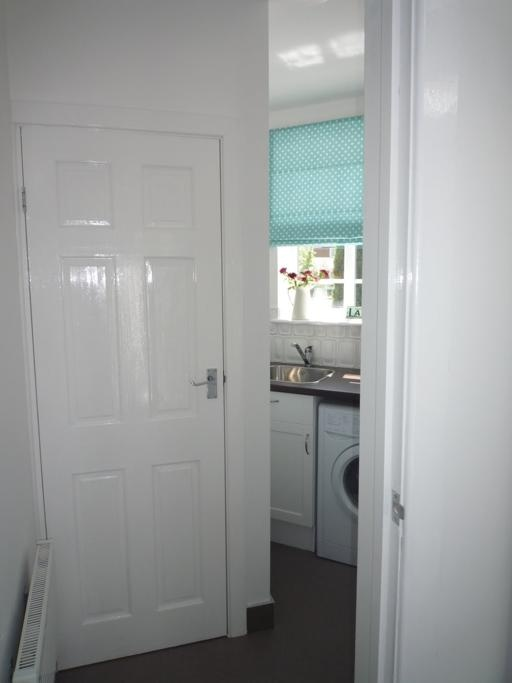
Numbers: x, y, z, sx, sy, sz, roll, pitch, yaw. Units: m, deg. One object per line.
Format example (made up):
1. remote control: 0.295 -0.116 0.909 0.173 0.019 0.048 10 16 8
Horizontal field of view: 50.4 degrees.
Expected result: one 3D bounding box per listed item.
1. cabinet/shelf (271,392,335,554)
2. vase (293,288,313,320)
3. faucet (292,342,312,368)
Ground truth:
1. cabinet/shelf: 0.194 0.553 2.819 0.326 0.939 0.406 6 23 23
2. vase: 0.278 -0.234 3.341 0.113 0.221 0.152 -4 14 -26
3. faucet: 0.287 0.083 3.180 0.054 0.171 0.198 -4 -11 31
